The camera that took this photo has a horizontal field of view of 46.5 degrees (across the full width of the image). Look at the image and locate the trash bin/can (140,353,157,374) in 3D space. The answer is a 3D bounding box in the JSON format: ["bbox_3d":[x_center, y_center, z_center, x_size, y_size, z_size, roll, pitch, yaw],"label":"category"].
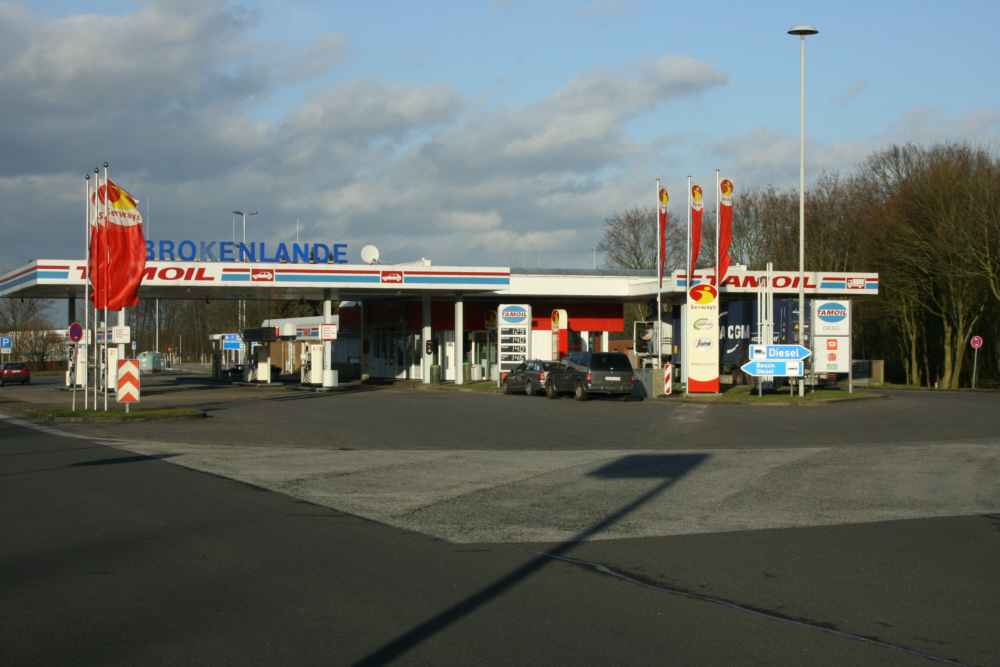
[{"bbox_3d":[-26.972,2.173,89.483,1.315,1.243,2.078,1,4,-16],"label":"trash bin/can"}]

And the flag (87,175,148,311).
[{"bbox_3d":[-11.577,-2.727,35.139,1.623,3.926,0.819,2,11,9],"label":"flag"}]

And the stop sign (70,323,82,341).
[{"bbox_3d":[-13.674,-0.085,37.628,0.558,0.587,0.136,1,3,8],"label":"stop sign"}]

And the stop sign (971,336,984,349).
[{"bbox_3d":[22.910,0.341,55.916,0.505,0.545,0.557,4,-8,20],"label":"stop sign"}]
